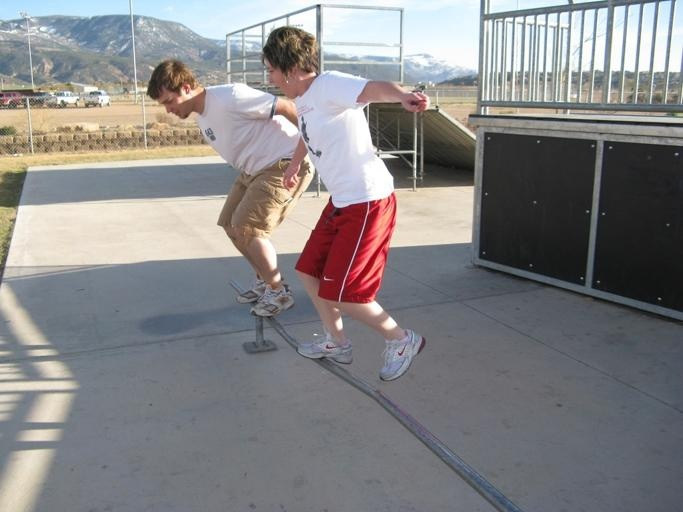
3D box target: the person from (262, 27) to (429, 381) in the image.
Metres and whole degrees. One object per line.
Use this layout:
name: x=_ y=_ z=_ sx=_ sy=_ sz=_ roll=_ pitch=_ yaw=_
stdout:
person: x=0.057 y=-0.192 z=2.641 sx=0.471 sy=2.061 sz=1.000 roll=-15 pitch=20 yaw=-40

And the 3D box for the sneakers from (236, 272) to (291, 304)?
sneakers: x=-0.635 y=0.270 z=3.997 sx=0.362 sy=0.159 sz=0.120 roll=-34 pitch=45 yaw=8

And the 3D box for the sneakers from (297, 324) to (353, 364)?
sneakers: x=-0.082 y=0.531 z=2.908 sx=0.377 sy=0.173 sz=0.141 roll=6 pitch=25 yaw=2

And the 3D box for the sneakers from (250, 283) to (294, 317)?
sneakers: x=-0.514 y=0.331 z=3.614 sx=0.196 sy=0.197 sz=0.415 roll=7 pitch=14 yaw=27

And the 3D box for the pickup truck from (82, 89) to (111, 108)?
pickup truck: x=-23.604 y=-15.360 z=47.590 sx=1.625 sy=1.369 sz=3.083 roll=-2 pitch=18 yaw=-8
